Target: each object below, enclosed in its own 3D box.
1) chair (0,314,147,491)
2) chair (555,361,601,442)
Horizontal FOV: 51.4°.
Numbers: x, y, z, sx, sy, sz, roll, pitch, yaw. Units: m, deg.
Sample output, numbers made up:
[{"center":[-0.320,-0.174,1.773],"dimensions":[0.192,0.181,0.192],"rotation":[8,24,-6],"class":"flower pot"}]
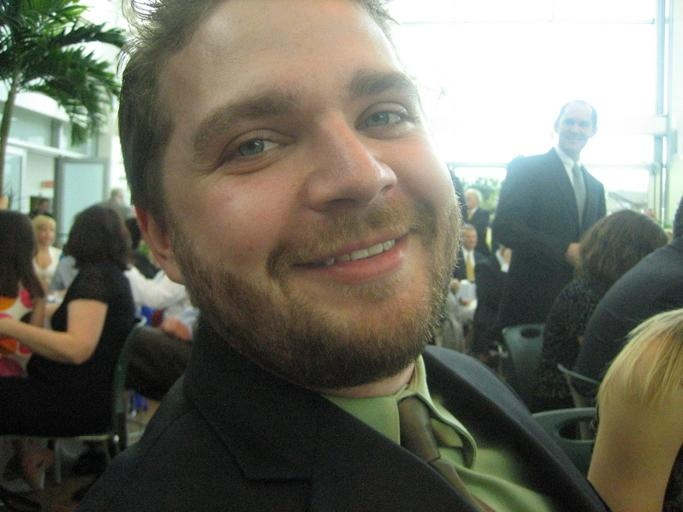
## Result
[{"center":[-1.050,0.658,2.879],"dimensions":[0.475,0.659,0.367],"rotation":[9,-9,-34],"class":"chair"},{"center":[0.661,0.438,2.127],"dimensions":[0.125,0.175,0.172],"rotation":[9,-13,40],"class":"chair"}]
